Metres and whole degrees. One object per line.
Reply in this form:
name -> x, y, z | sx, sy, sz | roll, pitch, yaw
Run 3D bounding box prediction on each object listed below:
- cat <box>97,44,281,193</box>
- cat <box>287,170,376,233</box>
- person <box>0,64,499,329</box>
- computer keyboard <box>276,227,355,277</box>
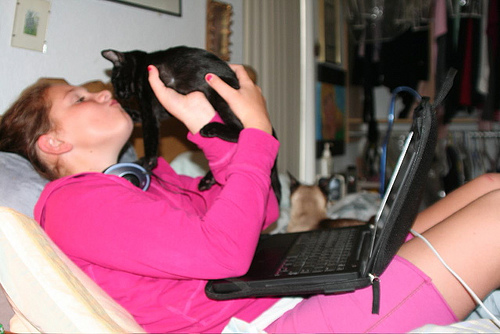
cat -> -0.237, -0.227, 1.514 | 0.782, 0.461, 0.541 | 3, 14, 32
cat -> 0.339, 0.163, 2.038 | 0.349, 0.271, 0.420 | -9, 7, -4
person -> -0.031, 0.087, 1.340 | 1.098, 0.707, 0.502 | -17, 27, 7
computer keyboard -> 0.226, 0.266, 1.294 | 0.266, 0.047, 0.609 | -10, 0, 16
